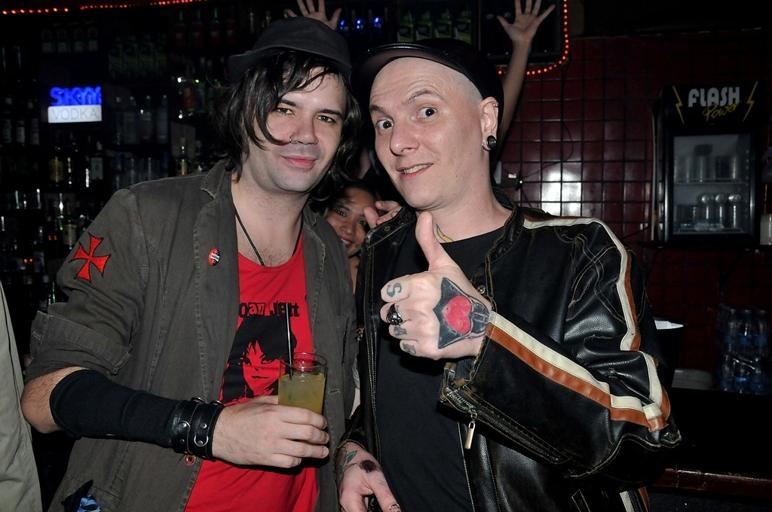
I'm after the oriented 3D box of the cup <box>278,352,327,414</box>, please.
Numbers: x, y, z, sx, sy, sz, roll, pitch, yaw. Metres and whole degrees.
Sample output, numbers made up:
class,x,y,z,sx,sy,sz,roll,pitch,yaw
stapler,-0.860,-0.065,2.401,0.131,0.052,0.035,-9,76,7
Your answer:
class,x,y,z,sx,sy,sz,roll,pitch,yaw
cup,-0.484,0.726,3.932,0.257,0.309,0.312,2,2,-2

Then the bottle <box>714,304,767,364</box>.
class,x,y,z,sx,sy,sz,roll,pitch,yaw
bottle,3.562,0.782,6.870,0.486,0.465,0.476,4,-1,-16

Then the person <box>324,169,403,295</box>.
class,x,y,z,sx,sy,sz,roll,pitch,yaw
person,-0.217,-0.168,5.054,0.639,0.849,0.350,3,0,1
